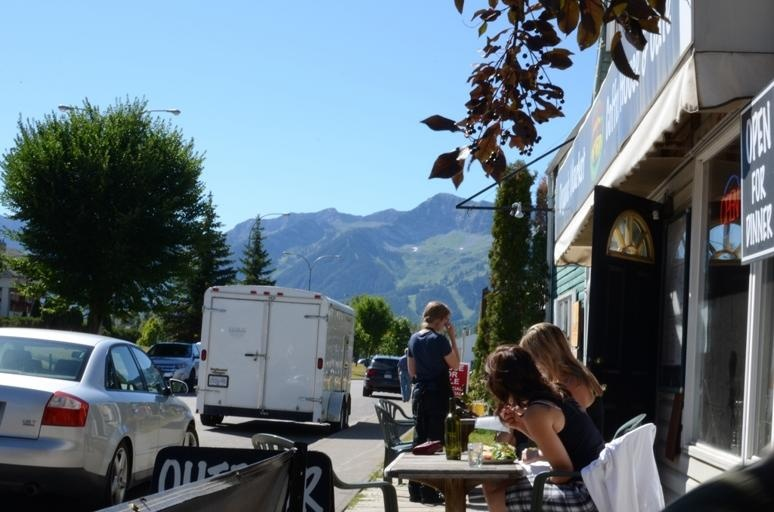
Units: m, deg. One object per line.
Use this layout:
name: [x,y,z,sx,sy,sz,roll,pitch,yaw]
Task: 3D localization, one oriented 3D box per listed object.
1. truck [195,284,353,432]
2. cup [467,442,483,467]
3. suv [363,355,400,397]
truck: [-2.517,2.415,17.913,2.411,2.739,4.089,2,-4,7]
cup: [0.768,1.776,6.130,0.135,0.262,0.157,0,-7,3]
suv: [-0.251,5.977,34.337,1.377,1.534,3.352,1,-3,1]
